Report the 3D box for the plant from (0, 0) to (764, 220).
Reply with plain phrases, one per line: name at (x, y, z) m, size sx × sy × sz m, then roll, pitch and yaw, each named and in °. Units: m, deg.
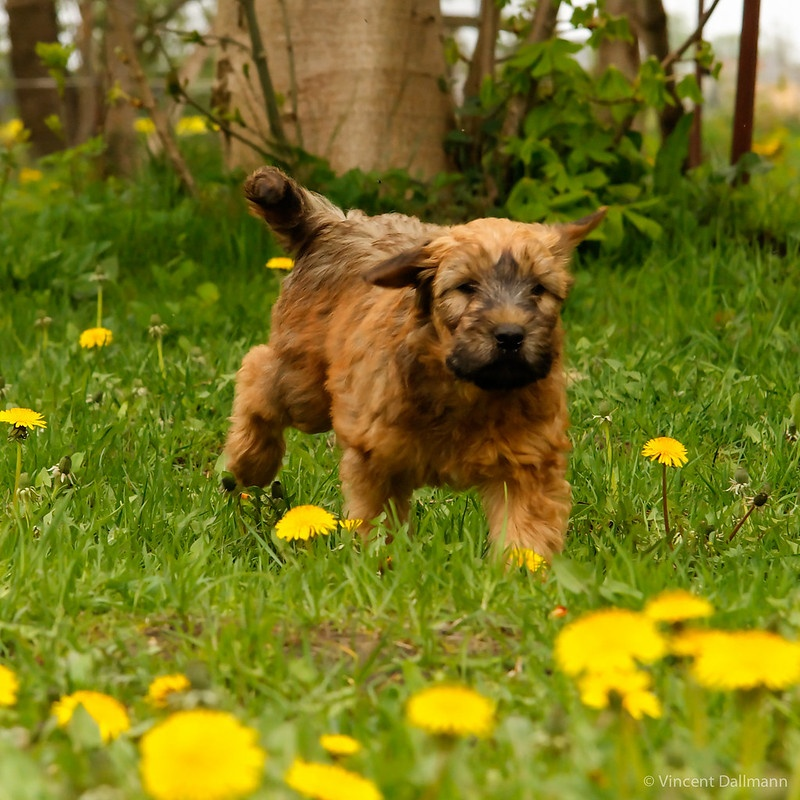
plant at (-0.160, -1.322, 4.838) m, size 2.209 × 0.984 × 1.757 m, roll 7°, pitch 9°, yaw 27°
